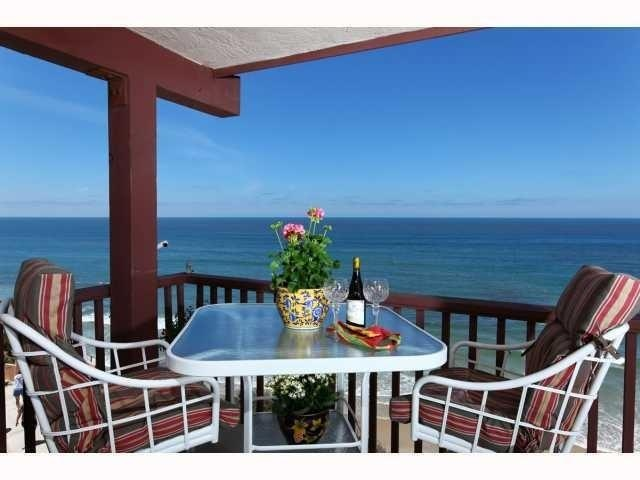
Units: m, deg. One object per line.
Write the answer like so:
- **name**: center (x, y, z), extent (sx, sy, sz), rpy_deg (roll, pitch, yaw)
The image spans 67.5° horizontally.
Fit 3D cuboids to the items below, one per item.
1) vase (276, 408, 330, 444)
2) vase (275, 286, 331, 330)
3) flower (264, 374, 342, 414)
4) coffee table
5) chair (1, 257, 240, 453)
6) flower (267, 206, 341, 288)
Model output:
- **vase**: center (-0.079, 0.998, 2.546), extent (0.278, 0.145, 0.263), rpy_deg (10, -17, -37)
- **vase**: center (-0.087, 0.325, 2.356), extent (0.269, 0.162, 0.219), rpy_deg (0, -9, -2)
- **flower**: center (-0.084, 0.787, 2.543), extent (0.278, 0.127, 0.239), rpy_deg (0, -1, 1)
- **coffee table**: center (-0.128, 0.571, 2.389), extent (1.030, 0.707, 0.928), rpy_deg (0, 8, -7)
- **chair**: center (-1.086, 0.486, 2.402), extent (1.326, 0.919, 0.906), rpy_deg (1, 1, -25)
- **flower**: center (-0.047, 0.072, 2.451), extent (0.305, 0.278, 0.228), rpy_deg (-13, -9, 6)
